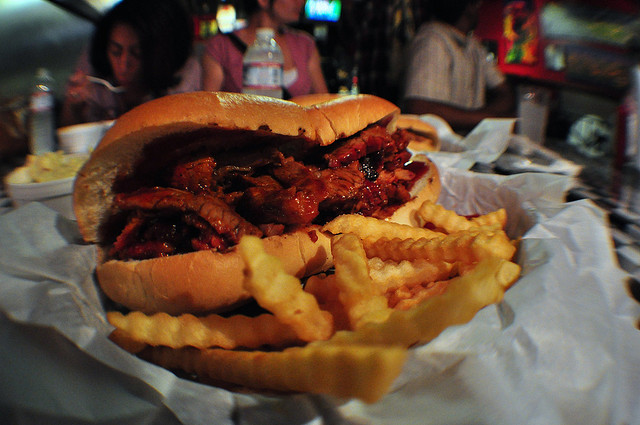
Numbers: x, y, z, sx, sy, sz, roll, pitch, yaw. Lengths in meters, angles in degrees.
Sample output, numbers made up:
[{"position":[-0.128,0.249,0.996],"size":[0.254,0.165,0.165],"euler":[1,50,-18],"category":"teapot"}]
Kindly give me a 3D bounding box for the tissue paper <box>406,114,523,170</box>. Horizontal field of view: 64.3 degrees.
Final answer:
[{"position":[1.107,-0.532,3.909],"size":[0.687,0.336,0.604],"euler":[-13,39,-35],"category":"tissue paper"}]

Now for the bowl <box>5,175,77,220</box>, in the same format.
[{"position":[-1.613,-0.126,2.975],"size":[0.328,0.206,0.351],"euler":[1,6,0],"category":"bowl"}]

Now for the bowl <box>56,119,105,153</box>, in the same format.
[{"position":[-1.677,-0.520,3.566],"size":[0.330,0.192,0.321],"euler":[-6,3,0],"category":"bowl"}]

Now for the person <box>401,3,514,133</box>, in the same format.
[{"position":[1.453,-1.457,5.214],"size":[1.031,1.545,1.108],"euler":[15,33,29],"category":"person"}]

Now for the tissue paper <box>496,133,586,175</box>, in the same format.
[{"position":[1.478,-0.369,3.530],"size":[0.628,0.149,0.347],"euler":[24,55,41],"category":"tissue paper"}]
